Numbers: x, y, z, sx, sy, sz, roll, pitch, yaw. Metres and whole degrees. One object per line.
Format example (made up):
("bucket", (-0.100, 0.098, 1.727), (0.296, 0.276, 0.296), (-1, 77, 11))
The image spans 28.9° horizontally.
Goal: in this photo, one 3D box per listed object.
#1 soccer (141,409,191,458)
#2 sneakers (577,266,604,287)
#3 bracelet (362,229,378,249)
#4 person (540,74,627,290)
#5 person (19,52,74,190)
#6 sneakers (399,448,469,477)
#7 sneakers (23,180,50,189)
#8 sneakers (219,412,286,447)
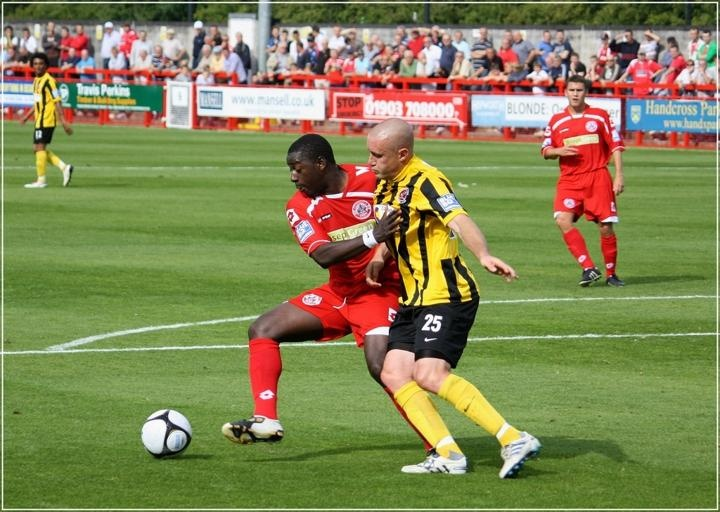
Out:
("soccer", (-1.656, 1.549, 12.273), (0.450, 0.397, 0.398), (9, 49, 1))
("sneakers", (2.811, 0.266, 17.050), (0.240, 0.235, 0.252), (0, 7, 0))
("bracelet", (0.078, -0.150, 11.941), (0.112, 0.132, 0.140), (-19, -8, -4))
("person", (2.803, -0.961, 17.406), (1.050, 2.573, 0.999), (2, 8, 17))
("person", (-5.337, -2.341, 24.178), (1.064, 2.262, 0.696), (2, 2, 33))
("sneakers", (0.648, 1.771, 11.938), (0.575, 0.179, 0.202), (1, -4, 8))
("sneakers", (-5.592, -1.235, 24.191), (0.433, 0.151, 0.146), (2, -1, 8))
("sneakers", (-0.919, 1.505, 12.049), (0.507, 0.247, 0.133), (-1, 7, -5))
